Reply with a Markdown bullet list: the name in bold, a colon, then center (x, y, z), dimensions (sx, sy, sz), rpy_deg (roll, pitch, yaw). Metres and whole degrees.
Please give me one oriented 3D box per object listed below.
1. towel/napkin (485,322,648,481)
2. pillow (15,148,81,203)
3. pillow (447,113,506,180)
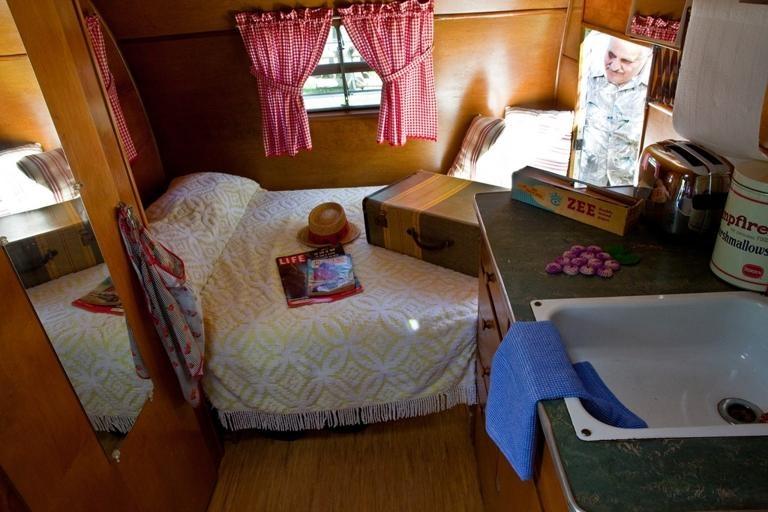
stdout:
- **towel/napkin**: center (0.462, 0.427, 1.457), dimensions (0.426, 0.309, 0.420), rpy_deg (-6, 30, 5)
- **pillow**: center (-1.015, -0.245, 1.564), dimensions (0.035, 0.127, 0.131), rpy_deg (-14, 16, 19)
- **pillow**: center (0.643, -0.718, 3.421), dimensions (0.393, 0.361, 0.320), rpy_deg (-20, 34, -29)
